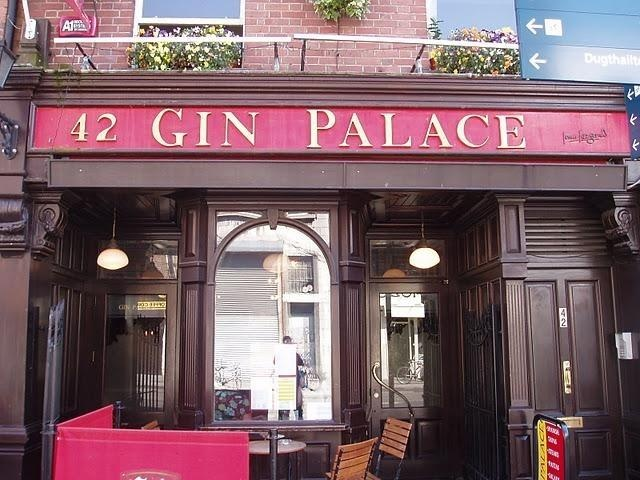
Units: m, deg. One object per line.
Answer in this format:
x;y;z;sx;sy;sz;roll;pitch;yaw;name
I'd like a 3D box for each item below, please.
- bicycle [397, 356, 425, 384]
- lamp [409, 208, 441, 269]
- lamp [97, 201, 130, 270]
1.362;1.983;8.793;0.430;0.299;0.229;2;-16;3;bicycle
1.523;0.045;8.732;0.459;0.770;0.677;-2;-11;9;lamp
-2.911;0.036;8.428;0.415;0.827;0.805;3;-11;-19;lamp
